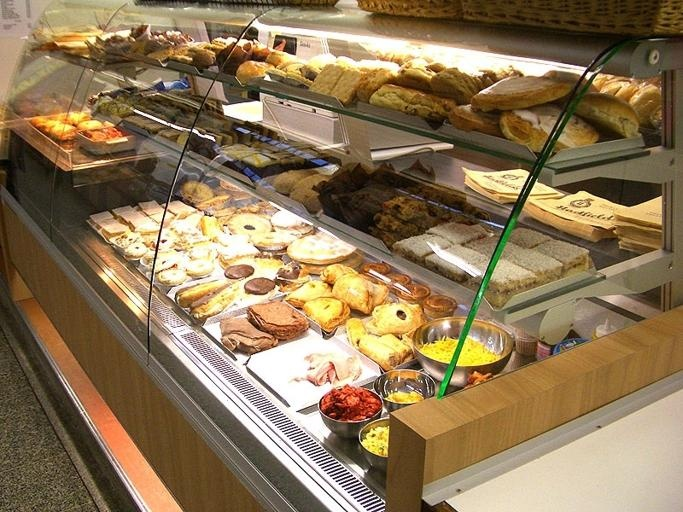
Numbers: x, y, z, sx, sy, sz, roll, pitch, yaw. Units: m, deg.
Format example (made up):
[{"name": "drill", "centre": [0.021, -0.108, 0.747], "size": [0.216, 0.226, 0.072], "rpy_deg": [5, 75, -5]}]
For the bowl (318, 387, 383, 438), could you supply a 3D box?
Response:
[{"name": "bowl", "centre": [0.032, 0.375, 1.286], "size": [0.141, 0.060, 0.145], "rpy_deg": [1, 21, 0]}]

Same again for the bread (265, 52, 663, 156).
[{"name": "bread", "centre": [0.356, -0.455, 1.357], "size": [0.510, 0.183, 0.907], "rpy_deg": [-15, 34, -32]}]

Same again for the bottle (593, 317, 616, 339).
[{"name": "bottle", "centre": [0.649, 0.179, 1.273], "size": [0.049, 0.038, 0.043], "rpy_deg": [-25, 41, -22]}]

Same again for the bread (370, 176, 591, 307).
[{"name": "bread", "centre": [0.283, -0.047, 1.228], "size": [0.277, 0.061, 0.511], "rpy_deg": [-27, 36, -32]}]

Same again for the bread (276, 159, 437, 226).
[{"name": "bread", "centre": [-0.031, -0.215, 1.615], "size": [0.243, 0.070, 0.309], "rpy_deg": [-28, 37, -35]}]

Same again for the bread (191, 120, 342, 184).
[{"name": "bread", "centre": [-0.268, -0.351, 1.762], "size": [0.456, 0.074, 0.244], "rpy_deg": [18, 29, 20]}]
